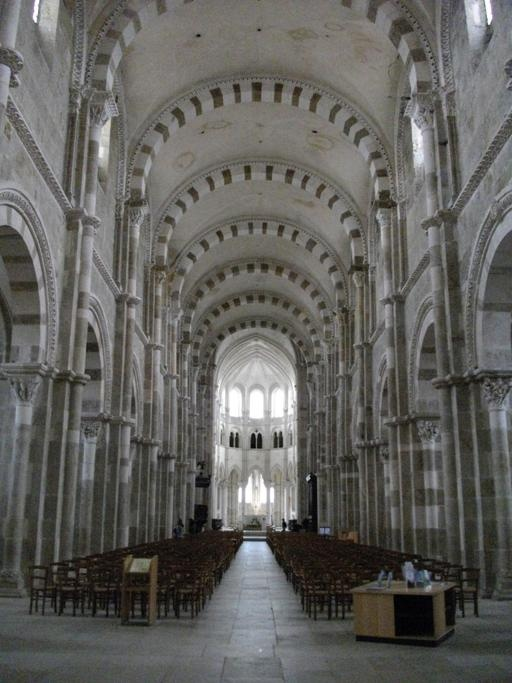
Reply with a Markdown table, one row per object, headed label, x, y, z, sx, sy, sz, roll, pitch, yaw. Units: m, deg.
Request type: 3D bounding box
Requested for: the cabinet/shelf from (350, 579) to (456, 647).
| label | x | y | z | sx | sy | sz | roll | pitch | yaw |
| --- | --- | --- | --- | --- | --- | --- | --- | --- | --- |
| cabinet/shelf | 1.621 | 2.978 | 6.277 | 0.937 | 0.596 | 1.214 | -9 | -17 | 27 |
